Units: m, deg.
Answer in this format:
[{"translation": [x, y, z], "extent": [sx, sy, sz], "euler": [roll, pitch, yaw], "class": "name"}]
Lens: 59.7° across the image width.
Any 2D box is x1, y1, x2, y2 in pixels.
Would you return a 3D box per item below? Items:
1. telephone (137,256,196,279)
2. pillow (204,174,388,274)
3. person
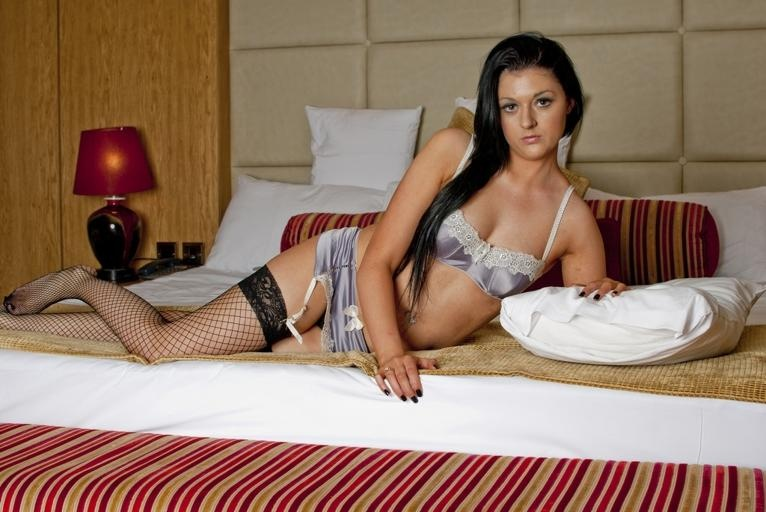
[{"translation": [-1.203, 0.062, 3.718], "extent": [0.157, 0.076, 0.262], "euler": [4, 9, 26], "class": "telephone"}, {"translation": [-0.481, -0.188, 3.463], "extent": [0.662, 0.589, 0.196], "euler": [-3, 38, -24], "class": "pillow"}, {"translation": [-0.312, -0.061, 2.290], "extent": [1.758, 0.870, 0.882], "euler": [-4, -4, 33], "class": "person"}]
